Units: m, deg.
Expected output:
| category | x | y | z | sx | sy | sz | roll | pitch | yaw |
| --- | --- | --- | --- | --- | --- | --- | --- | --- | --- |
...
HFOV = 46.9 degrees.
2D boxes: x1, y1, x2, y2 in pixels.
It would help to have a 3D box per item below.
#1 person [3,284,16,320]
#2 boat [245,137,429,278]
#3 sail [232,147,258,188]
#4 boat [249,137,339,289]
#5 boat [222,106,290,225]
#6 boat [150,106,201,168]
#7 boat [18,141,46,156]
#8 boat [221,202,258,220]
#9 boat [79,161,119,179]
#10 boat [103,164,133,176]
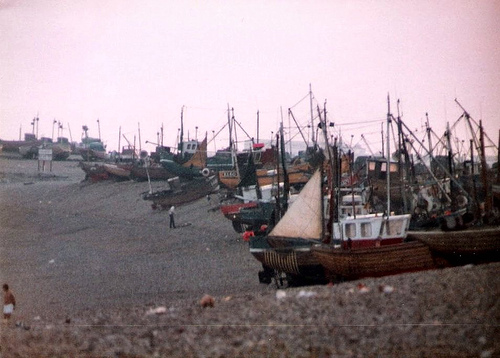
| category | x | y | z | sx | sy | sz | roll | pitch | yaw |
| --- | --- | --- | --- | --- | --- | --- | --- | --- | --- |
| person | -6.967 | 3.551 | 16.666 | 0.315 | 1.017 | 0.821 | -2 | 1 | -24 |
| boat | 2.511 | 0.861 | 18.027 | 5.103 | 4.743 | 1.886 | -2 | -12 | 4 |
| sail | -0.127 | -0.447 | 22.528 | 0.556 | 1.460 | 0.621 | -8 | 10 | 3 |
| boat | 1.430 | 0.861 | 18.333 | 2.800 | 4.646 | 0.931 | 1 | -4 | -23 |
| boat | 0.486 | -0.323 | 22.406 | 2.544 | 4.279 | 0.844 | -1 | -13 | 24 |
| boat | -3.931 | -2.511 | 34.016 | 2.968 | 4.224 | 0.913 | -6 | 39 | -18 |
| boat | -13.406 | -1.843 | 35.284 | 0.910 | 0.840 | 3.123 | -3 | 1 | -12 |
| boat | -0.476 | 1.177 | 22.665 | 0.972 | 0.380 | 0.741 | -8 | 2 | -28 |
| boat | -9.268 | -0.512 | 35.239 | 2.050 | 0.804 | 0.536 | 20 | -5 | -12 |
| boat | -7.772 | -0.530 | 33.958 | 1.976 | 0.600 | 0.434 | -2 | 1 | 28 |
